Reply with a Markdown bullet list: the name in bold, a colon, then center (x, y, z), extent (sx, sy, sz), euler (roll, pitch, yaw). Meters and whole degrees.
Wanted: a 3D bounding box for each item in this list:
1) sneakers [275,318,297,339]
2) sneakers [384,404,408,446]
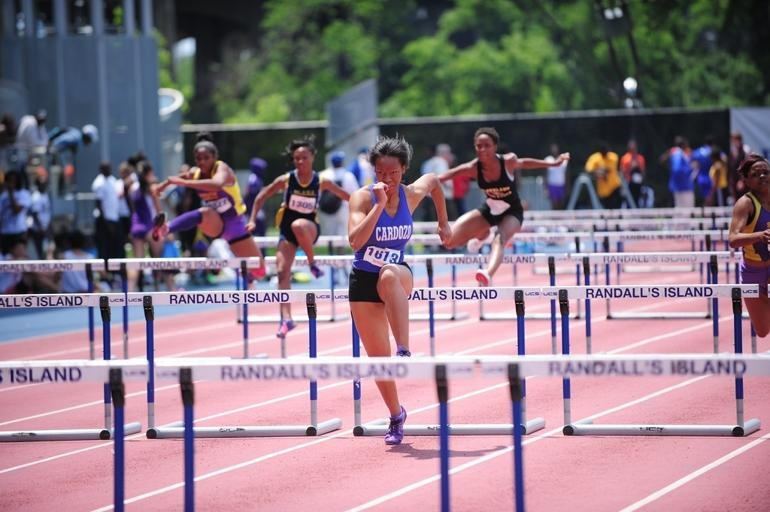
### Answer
- **sneakers**: center (-1.368, 0.962, 15.056), extent (0.129, 0.172, 0.429), euler (-6, 1, 11)
- **sneakers**: center (0.111, 1.916, 12.693), extent (0.251, 0.456, 0.292), euler (-3, 5, -3)
